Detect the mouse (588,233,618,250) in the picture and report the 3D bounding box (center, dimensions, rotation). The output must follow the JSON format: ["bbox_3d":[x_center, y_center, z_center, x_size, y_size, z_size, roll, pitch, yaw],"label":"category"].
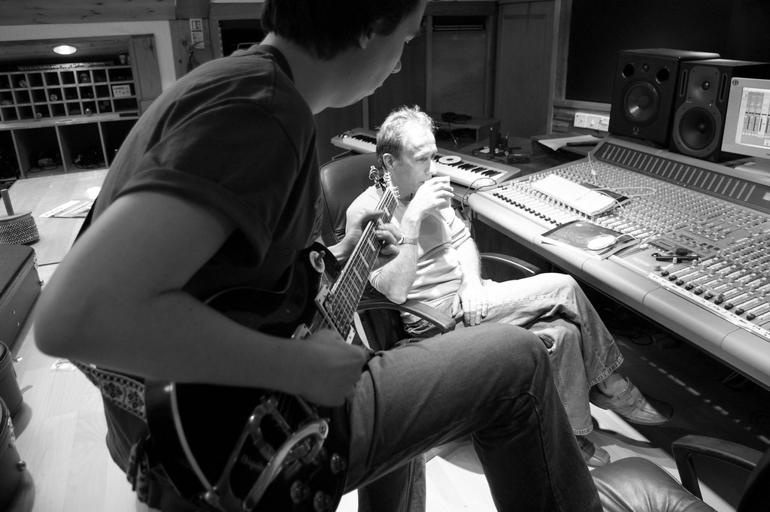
[{"bbox_3d":[0.982,-0.071,2.201,0.099,0.025,0.076,-20,27,-20],"label":"mouse"}]

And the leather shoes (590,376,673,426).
[{"bbox_3d":[1.212,0.728,2.425,0.368,0.167,0.138,15,46,4],"label":"leather shoes"}]

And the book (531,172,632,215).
[{"bbox_3d":[0.986,-0.340,2.596,0.196,0.051,0.358,-27,38,-27],"label":"book"}]

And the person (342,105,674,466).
[{"bbox_3d":[0.565,0.155,2.318,1.416,1.708,0.882,3,26,28],"label":"person"}]

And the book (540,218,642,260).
[{"bbox_3d":[0.937,-0.092,2.283,0.220,0.048,0.248,-23,26,-27],"label":"book"}]

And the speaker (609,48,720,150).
[{"bbox_3d":[1.665,-1.064,2.981,0.519,0.543,0.384,-31,39,-33],"label":"speaker"}]
